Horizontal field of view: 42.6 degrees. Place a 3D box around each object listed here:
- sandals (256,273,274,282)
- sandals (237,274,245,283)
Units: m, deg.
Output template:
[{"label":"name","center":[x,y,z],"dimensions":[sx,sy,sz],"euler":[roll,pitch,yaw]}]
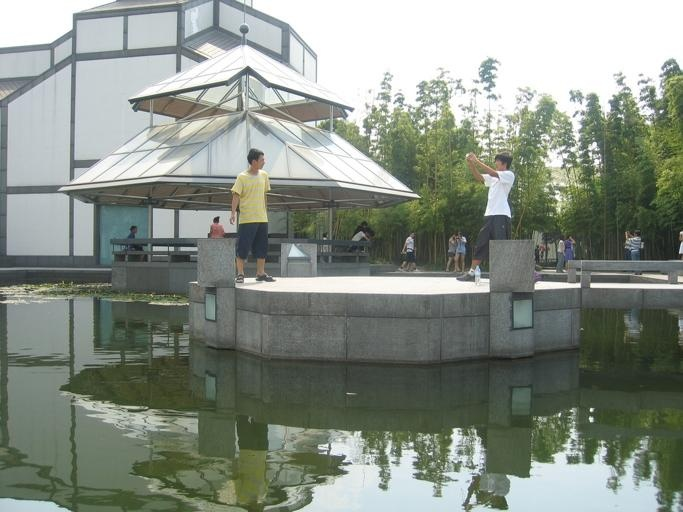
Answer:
[{"label":"sandals","center":[-1.391,0.384,15.543],"dimensions":[0.249,0.120,0.150],"euler":[0,1,-10]},{"label":"sandals","center":[-1.792,0.393,15.206],"dimensions":[0.118,0.108,0.353],"euler":[1,3,-4]}]
